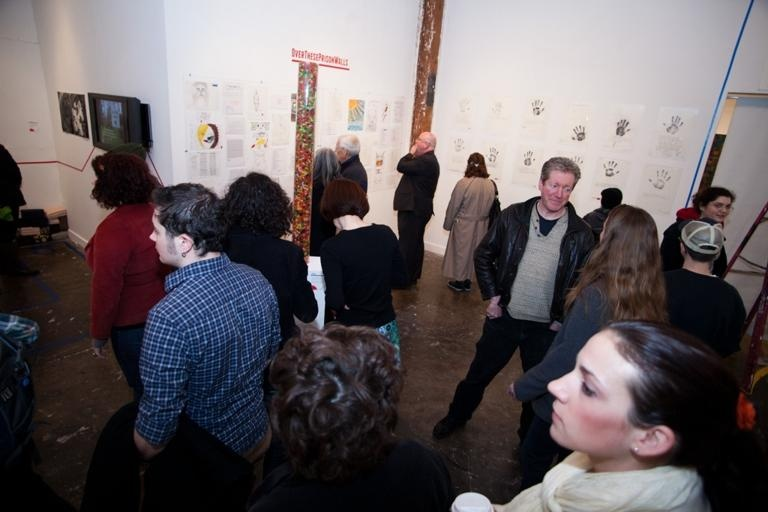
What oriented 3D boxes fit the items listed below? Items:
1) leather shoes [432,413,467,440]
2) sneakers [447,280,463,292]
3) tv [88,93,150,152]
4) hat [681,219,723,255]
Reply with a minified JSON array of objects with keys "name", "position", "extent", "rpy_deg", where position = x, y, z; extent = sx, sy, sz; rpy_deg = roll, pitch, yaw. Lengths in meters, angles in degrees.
[{"name":"leather shoes","position":[0.551,1.343,3.786],"extent":[0.364,0.144,0.122],"rpy_deg":[-8,32,-34]},{"name":"sneakers","position":[0.928,0.382,6.091],"extent":[0.091,0.144,0.212],"rpy_deg":[-1,24,-21]},{"name":"tv","position":[-2.783,-1.412,4.955],"extent":[0.729,0.577,0.256],"rpy_deg":[17,21,34]},{"name":"hat","position":[2.033,-0.136,2.958],"extent":[0.204,0.156,0.293],"rpy_deg":[11,37,20]}]
